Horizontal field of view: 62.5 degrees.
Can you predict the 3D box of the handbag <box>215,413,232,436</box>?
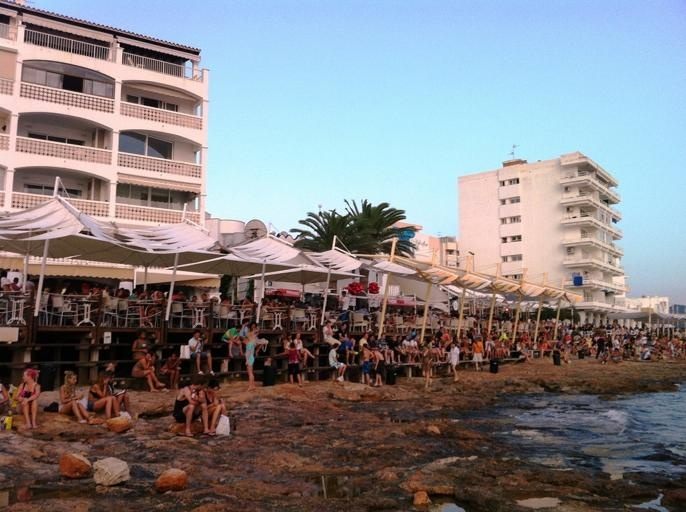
[{"bbox_3d":[-3.175,4.496,15.169,0.420,0.344,0.396,5,-4,-7],"label":"handbag"}]
